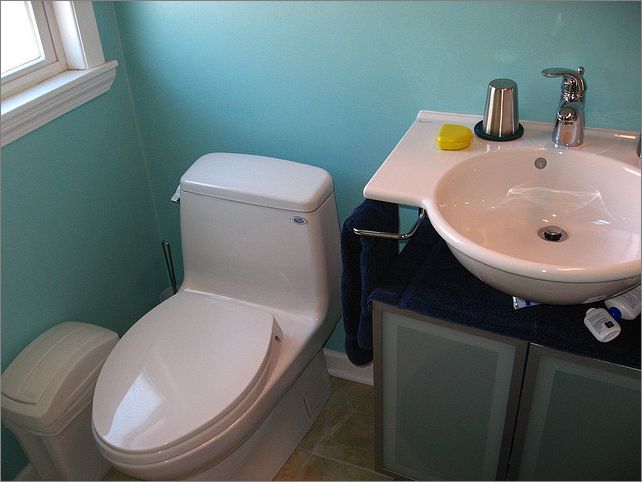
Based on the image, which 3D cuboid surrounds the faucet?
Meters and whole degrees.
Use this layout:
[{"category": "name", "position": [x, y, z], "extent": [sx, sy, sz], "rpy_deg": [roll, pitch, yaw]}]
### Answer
[{"category": "faucet", "position": [0.591, -0.323, 1.187], "extent": [0.120, 0.180, 0.069], "rpy_deg": [15, 37, 24]}]

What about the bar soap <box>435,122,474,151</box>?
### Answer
[{"category": "bar soap", "position": [0.353, -0.273, 1.268], "extent": [0.072, 0.029, 0.078], "rpy_deg": [5, 37, 12]}]

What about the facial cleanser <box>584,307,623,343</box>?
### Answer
[{"category": "facial cleanser", "position": [0.598, 0.180, 1.035], "extent": [0.040, 0.031, 0.057], "rpy_deg": [-31, 34, 8]}]

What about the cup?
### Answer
[{"category": "cup", "position": [0.470, -0.345, 1.278], "extent": [0.125, 0.132, 0.136], "rpy_deg": [-6, 33, 4]}]

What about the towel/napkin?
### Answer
[{"category": "towel/napkin", "position": [0.132, 0.107, 1.255], "extent": [0.093, 0.422, 0.311], "rpy_deg": [5, 29, 13]}]
